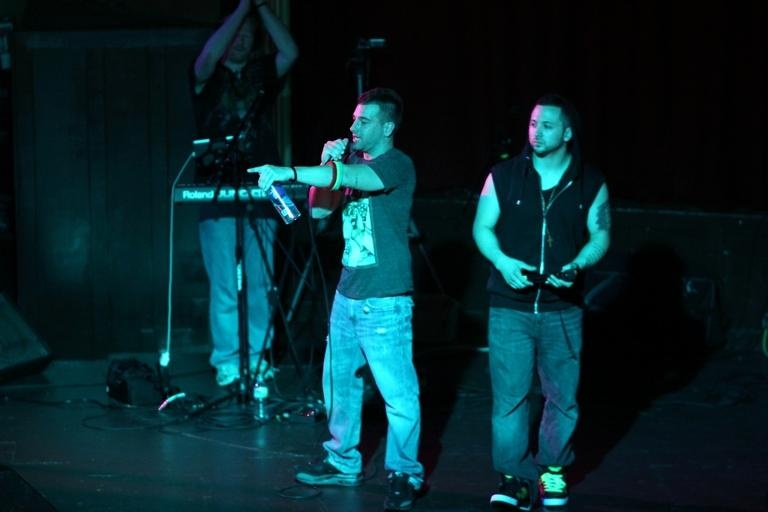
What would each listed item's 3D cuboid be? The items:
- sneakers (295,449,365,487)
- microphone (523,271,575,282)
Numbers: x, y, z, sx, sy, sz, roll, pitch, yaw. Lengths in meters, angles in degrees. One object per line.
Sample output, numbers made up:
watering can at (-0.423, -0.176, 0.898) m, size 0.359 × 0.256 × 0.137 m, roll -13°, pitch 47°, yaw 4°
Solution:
sneakers at (-0.352, 1.360, 5.104) m, size 0.453 × 0.202 × 0.171 m, roll 3°, pitch -9°, yaw 1°
microphone at (0.957, 0.120, 4.642) m, size 0.286 × 0.072 × 0.103 m, roll 4°, pitch 2°, yaw 20°
